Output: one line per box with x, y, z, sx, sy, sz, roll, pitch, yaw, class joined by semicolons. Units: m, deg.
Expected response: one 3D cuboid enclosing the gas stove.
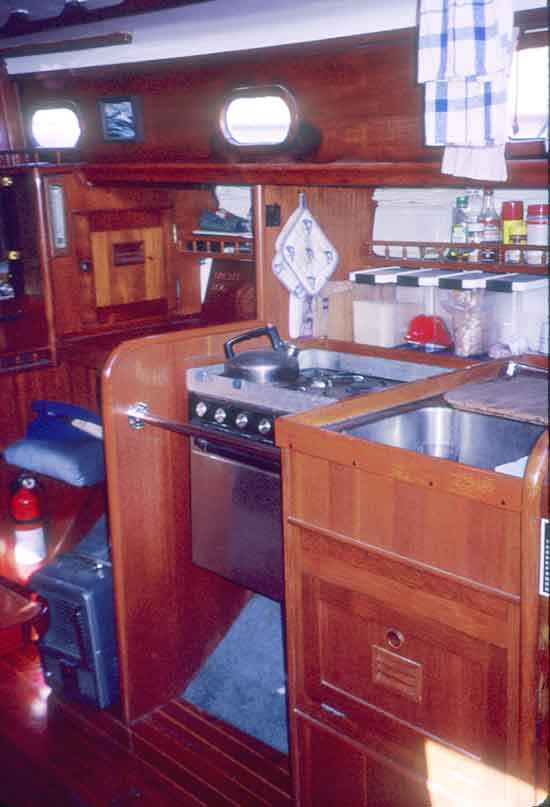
0.014;-0.055;1.931;0.454;0.128;0.415;-15;20;-42;gas stove
